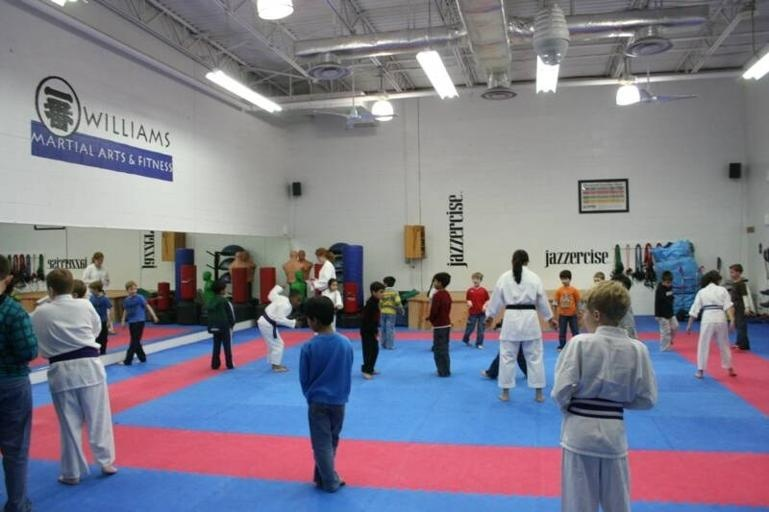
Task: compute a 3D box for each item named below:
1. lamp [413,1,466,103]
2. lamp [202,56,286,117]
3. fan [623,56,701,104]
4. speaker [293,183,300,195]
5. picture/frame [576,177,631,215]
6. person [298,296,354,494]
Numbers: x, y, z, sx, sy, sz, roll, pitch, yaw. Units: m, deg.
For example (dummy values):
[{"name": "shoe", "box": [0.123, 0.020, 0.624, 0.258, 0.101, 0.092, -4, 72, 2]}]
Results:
[{"name": "lamp", "box": [1.100, -4.113, 12.292, 0.733, 1.324, 1.731, 1, 12, 10]}, {"name": "lamp", "box": [-3.439, -4.112, 14.644, 1.504, 0.813, 3.504, -3, 12, -9]}, {"name": "fan", "box": [7.403, -4.712, 15.453, 2.053, 0.873, 2.105, -2, 1, 30]}, {"name": "speaker", "box": [-2.838, -2.177, 18.885, 0.320, 0.419, 0.197, -4, 12, -10]}, {"name": "picture/frame", "box": [6.496, -1.774, 17.063, 1.037, 0.838, 0.075, 0, -1, 7]}, {"name": "person", "box": [-0.777, 1.801, 7.636, 0.605, 2.521, 0.541, 2, 12, 14]}]
